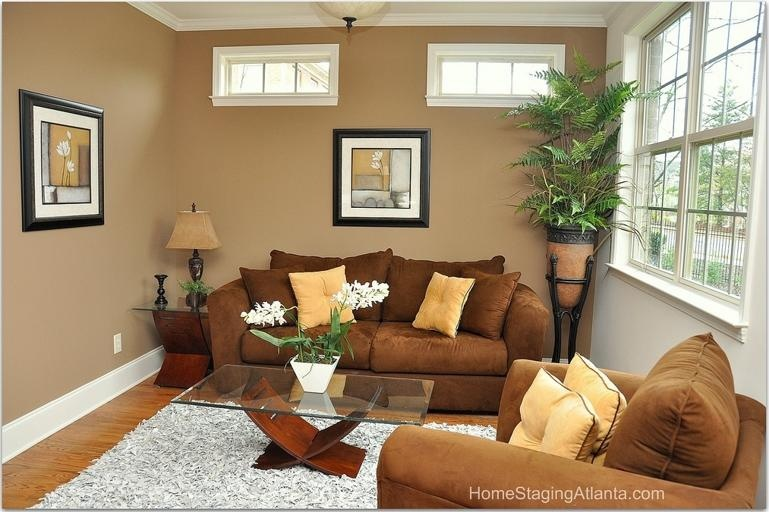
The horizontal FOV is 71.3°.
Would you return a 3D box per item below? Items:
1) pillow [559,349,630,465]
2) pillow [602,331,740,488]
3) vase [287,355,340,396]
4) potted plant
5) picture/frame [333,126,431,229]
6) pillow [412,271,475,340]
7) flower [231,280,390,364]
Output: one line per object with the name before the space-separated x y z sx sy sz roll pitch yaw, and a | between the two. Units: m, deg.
pillow | 1.047 0.762 2.662 0.157 0.303 0.441 11 5 7
pillow | 1.371 0.466 2.441 0.480 0.574 1.076 10 9 31
vase | -0.450 0.764 3.426 0.278 0.180 0.234 -1 -6 4
potted plant | 1.673 -0.637 4.690 0.876 2.187 1.144 -4 9 -20
picture/frame | -0.043 -0.755 5.187 0.934 0.902 0.070 2 12 9
pillow | 0.558 0.445 4.552 0.145 0.481 0.520 33 -15 -34
flower | -0.451 0.486 3.840 1.101 0.596 0.726 -1 -2 0
